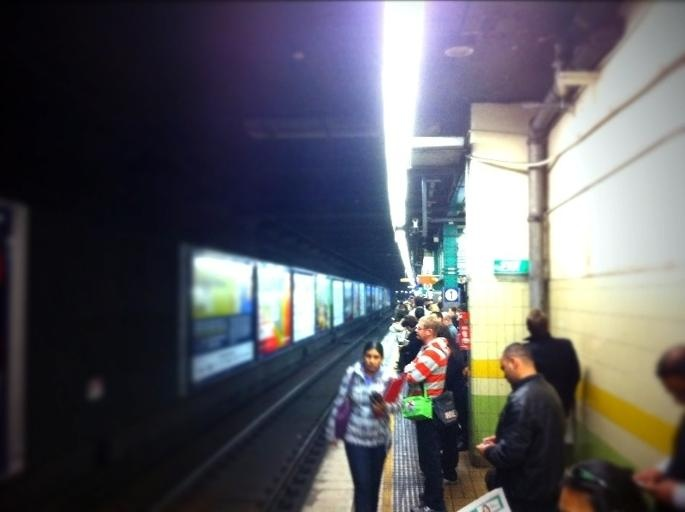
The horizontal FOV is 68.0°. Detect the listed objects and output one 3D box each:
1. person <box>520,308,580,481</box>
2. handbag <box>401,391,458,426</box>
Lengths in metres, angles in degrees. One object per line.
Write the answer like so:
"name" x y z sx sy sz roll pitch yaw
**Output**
"person" 2.111 1.486 5.204 0.553 1.874 0.493 -7 16 8
"handbag" 0.875 1.511 5.007 0.418 0.457 0.316 0 -17 5
